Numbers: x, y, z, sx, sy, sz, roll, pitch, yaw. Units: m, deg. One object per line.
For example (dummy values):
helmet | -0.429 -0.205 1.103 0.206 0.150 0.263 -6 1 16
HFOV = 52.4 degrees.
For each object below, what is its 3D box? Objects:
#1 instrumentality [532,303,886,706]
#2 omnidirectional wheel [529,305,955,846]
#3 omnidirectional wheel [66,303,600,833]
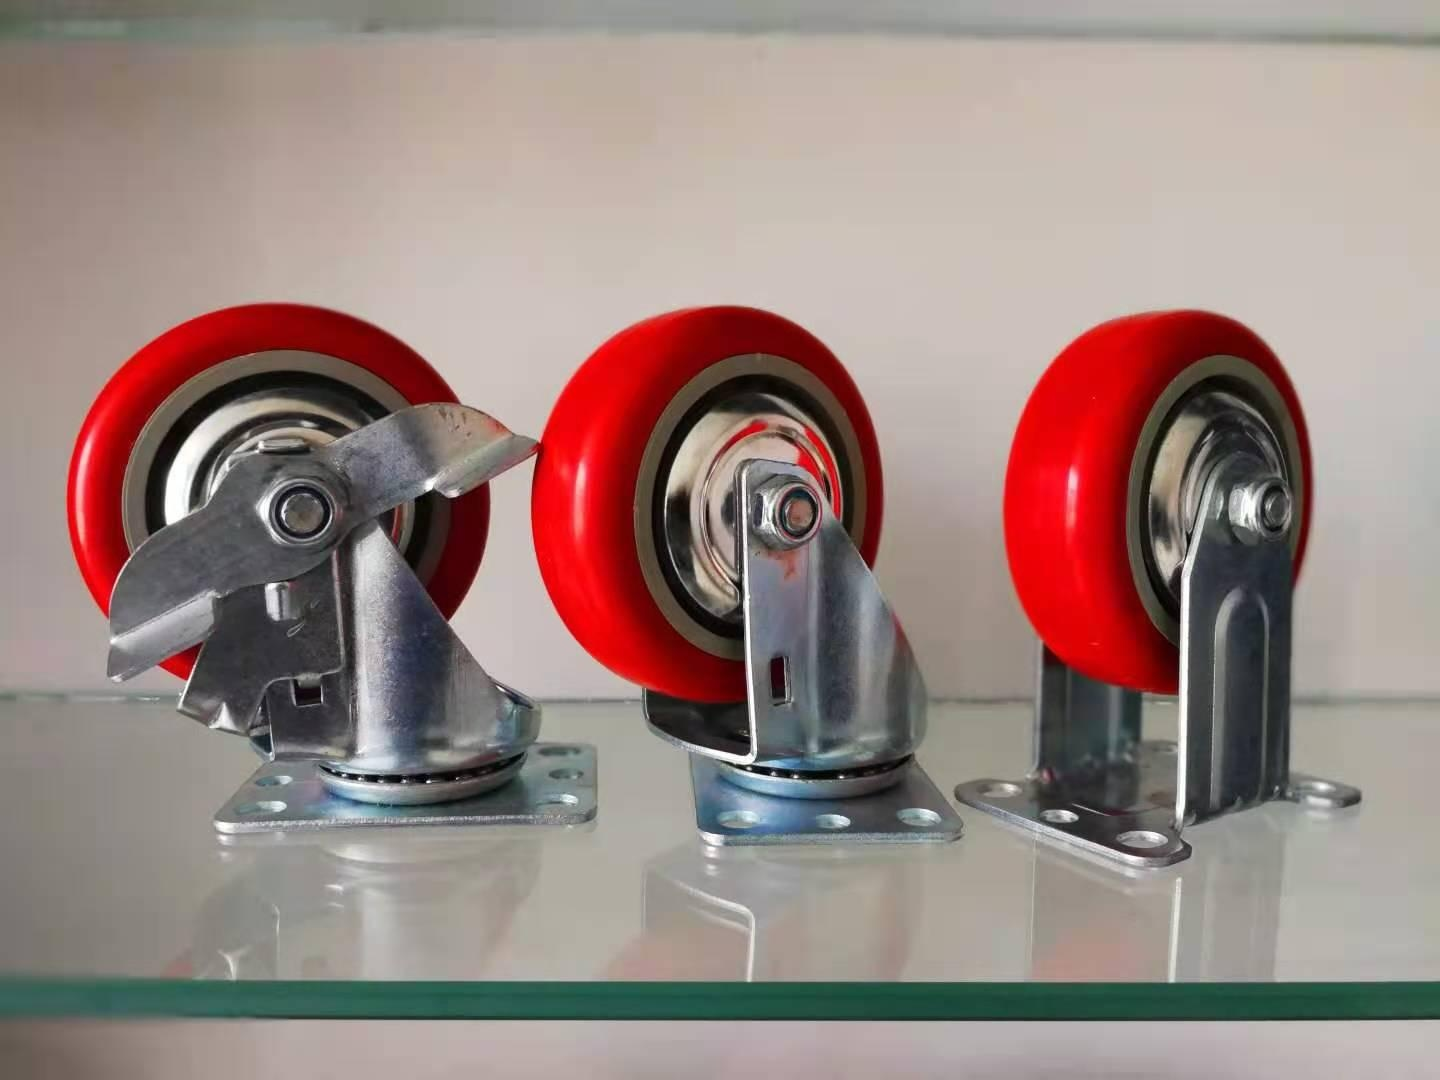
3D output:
instrumentality | 0.012 -0.027 0.956 0.204 0.273 0.133 4 12 -12
omnidirectional wheel | 0.026 -0.020 0.995 0.295 0.407 0.286 0 20 0
omnidirectional wheel | -0.236 0.010 0.925 0.283 0.339 0.171 -4 3 -11
